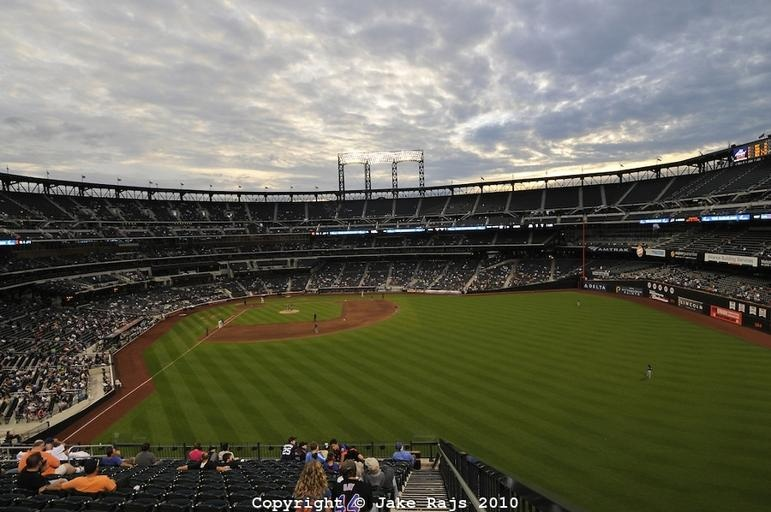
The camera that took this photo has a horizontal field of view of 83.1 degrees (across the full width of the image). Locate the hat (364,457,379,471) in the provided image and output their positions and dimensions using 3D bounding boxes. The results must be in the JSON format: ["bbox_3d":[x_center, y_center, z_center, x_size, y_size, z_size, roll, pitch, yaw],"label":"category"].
[{"bbox_3d":[-0.579,8.372,17.605,0.560,0.379,0.596,18,-4,-18],"label":"hat"}]
